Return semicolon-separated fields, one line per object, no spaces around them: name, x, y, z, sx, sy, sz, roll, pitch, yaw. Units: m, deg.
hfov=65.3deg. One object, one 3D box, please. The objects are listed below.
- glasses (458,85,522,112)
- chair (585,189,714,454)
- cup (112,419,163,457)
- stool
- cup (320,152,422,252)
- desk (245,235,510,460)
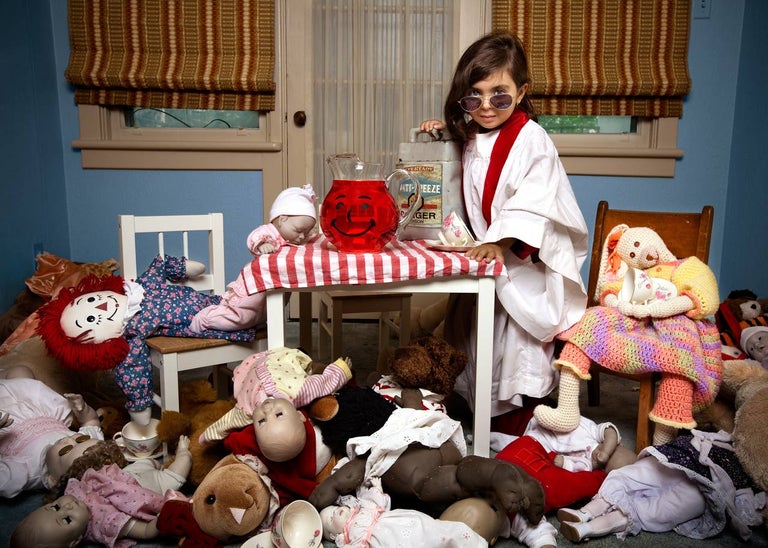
glasses;0.352;-0.592;2.043;0.184;0.074;0.052;0;8;7
chair;0.932;0.205;2.217;0.547;0.844;0.655;1;10;18
cup;-0.808;0.534;2.002;0.144;0.098;0.123;3;15;15
stool;-0.096;0.223;2.751;0.366;0.389;0.386;1;4;-5
cup;-0.035;-0.218;1.914;0.302;0.324;0.244;1;2;11
desk;-0.018;0.255;1.989;0.846;0.709;0.292;-3;8;-9
